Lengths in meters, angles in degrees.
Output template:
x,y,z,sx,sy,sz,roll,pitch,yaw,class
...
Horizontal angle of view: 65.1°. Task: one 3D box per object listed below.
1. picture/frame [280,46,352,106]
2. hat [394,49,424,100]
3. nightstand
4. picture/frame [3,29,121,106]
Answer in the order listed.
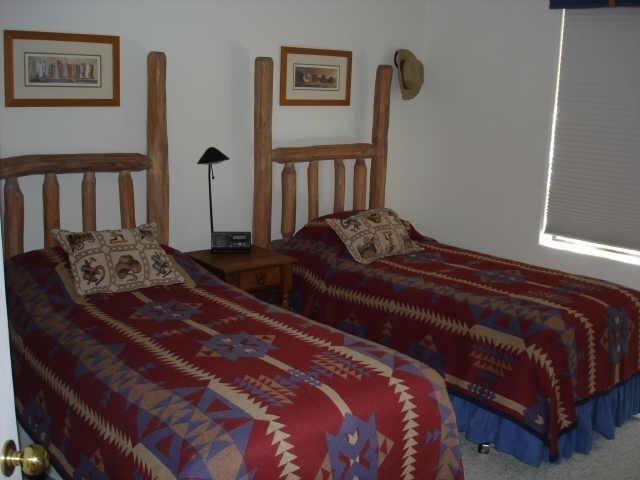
x,y,z,sx,sy,sz,roll,pitch,yaw,class
-0.057,-1.366,4.117,0.574,0.388,0.015,-5,12,-31,picture/frame
0.808,-1.504,4.528,0.346,0.416,0.113,8,-2,-37,hat
-0.564,0.123,3.563,0.504,0.466,0.495,-11,17,-41,nightstand
-1.610,-1.074,3.072,0.552,0.389,0.020,-7,14,-38,picture/frame
